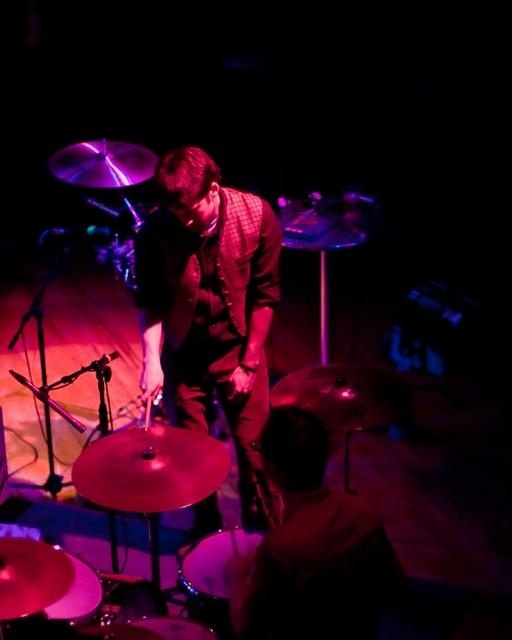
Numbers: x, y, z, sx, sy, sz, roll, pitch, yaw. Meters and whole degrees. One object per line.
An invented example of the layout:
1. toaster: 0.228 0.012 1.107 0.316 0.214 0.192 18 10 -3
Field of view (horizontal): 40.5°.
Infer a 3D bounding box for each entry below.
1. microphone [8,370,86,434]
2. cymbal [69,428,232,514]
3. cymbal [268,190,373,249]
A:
1. microphone: -1.205 0.487 4.004 0.648 0.075 0.087 38 26 11
2. cymbal: -0.367 0.538 2.481 0.535 0.187 0.461 3 14 12
3. cymbal: 0.393 -0.568 3.896 0.561 0.271 0.598 2 14 8
